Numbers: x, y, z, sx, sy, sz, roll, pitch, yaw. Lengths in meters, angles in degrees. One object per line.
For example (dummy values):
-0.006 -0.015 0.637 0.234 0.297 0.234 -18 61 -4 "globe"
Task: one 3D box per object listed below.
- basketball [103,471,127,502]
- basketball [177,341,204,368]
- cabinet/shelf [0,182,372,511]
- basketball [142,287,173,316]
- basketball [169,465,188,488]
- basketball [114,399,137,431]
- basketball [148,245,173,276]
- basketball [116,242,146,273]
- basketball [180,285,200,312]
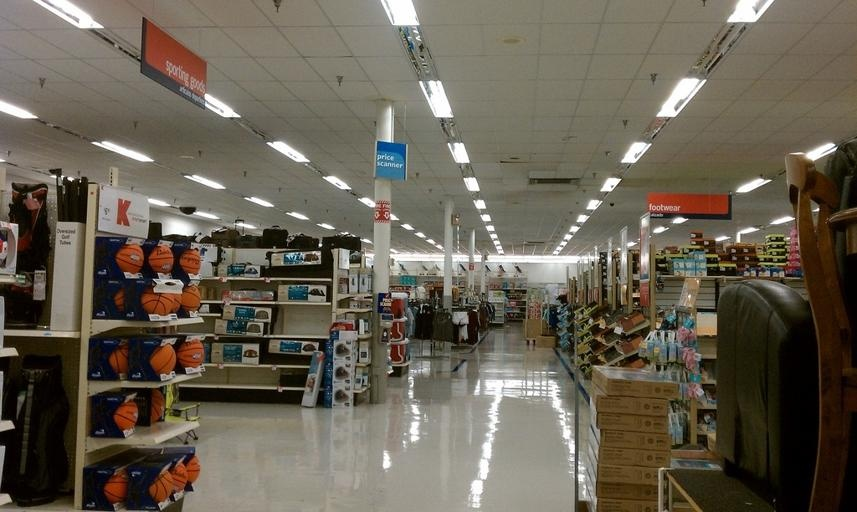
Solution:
-3.105 2.306 5.956 0.169 0.215 0.271 -8 39 -18 "basketball"
-2.542 1.035 6.401 0.293 0.323 0.271 1 15 -19 "basketball"
-2.930 1.295 7.537 1.337 3.645 4.103 -1 -4 24 "cabinet/shelf"
-2.740 0.464 6.109 0.274 0.314 0.267 -1 9 -9 "basketball"
-2.559 2.260 6.095 0.190 0.225 0.215 -2 -21 4 "basketball"
-3.052 1.590 6.045 0.191 0.217 0.304 -8 28 -22 "basketball"
-2.799 0.042 6.286 0.233 0.333 0.206 -2 1 2 "basketball"
-3.090 -0.003 6.221 0.300 0.345 0.287 -4 13 -44 "basketball"
-2.593 0.469 6.430 0.170 0.273 0.194 -1 22 10 "basketball"
